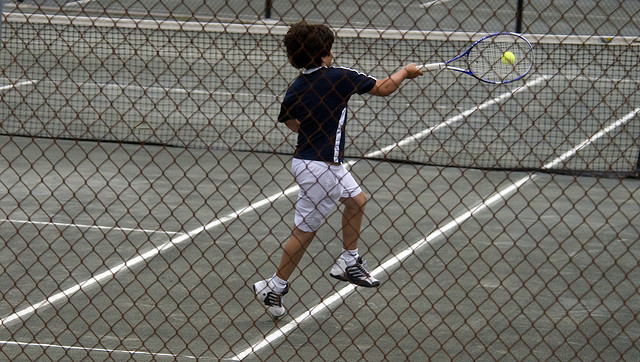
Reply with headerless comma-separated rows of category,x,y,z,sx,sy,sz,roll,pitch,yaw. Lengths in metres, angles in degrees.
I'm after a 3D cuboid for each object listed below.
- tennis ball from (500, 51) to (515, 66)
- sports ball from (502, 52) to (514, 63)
tennis ball,2.753,-1.758,12.140,0.185,0.159,0.190,-8,103,-34
sports ball,2.740,-1.773,12.177,0.149,0.148,0.166,-21,78,32
